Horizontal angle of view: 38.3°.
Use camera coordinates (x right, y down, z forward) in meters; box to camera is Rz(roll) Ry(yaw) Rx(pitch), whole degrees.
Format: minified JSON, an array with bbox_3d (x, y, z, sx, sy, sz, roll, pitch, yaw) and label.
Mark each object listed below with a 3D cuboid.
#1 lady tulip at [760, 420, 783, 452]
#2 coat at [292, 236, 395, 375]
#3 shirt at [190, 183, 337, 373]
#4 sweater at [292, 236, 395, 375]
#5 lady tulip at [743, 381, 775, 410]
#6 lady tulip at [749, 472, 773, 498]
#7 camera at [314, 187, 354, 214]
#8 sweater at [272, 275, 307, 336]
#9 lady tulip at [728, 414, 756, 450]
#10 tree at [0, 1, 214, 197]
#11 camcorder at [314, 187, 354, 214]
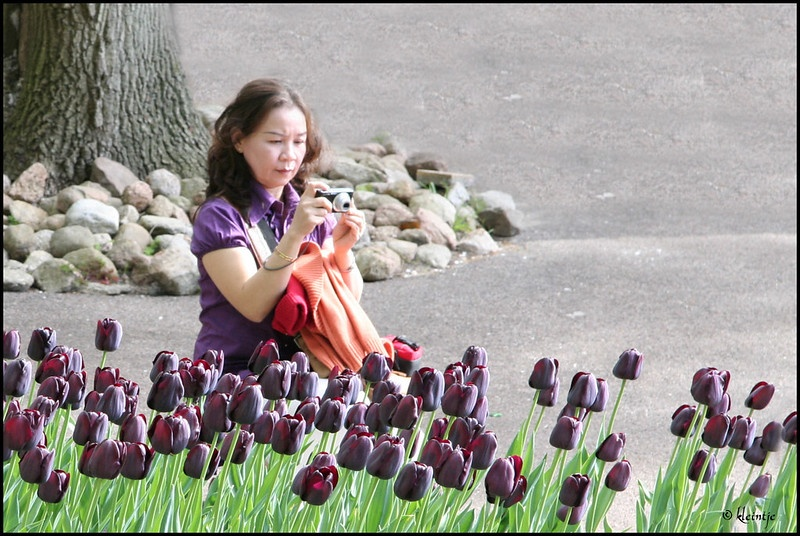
[{"bbox_3d":[1.684,0.771,5.261,0.085,0.139,0.078,8,-1,18],"label":"lady tulip"},{"bbox_3d":[-0.329,0.200,5.878,0.481,0.664,0.281,-12,-16,-25],"label":"coat"},{"bbox_3d":[-0.678,0.063,5.832,0.885,1.111,0.581,3,-5,-34],"label":"shirt"},{"bbox_3d":[-0.313,0.199,5.885,0.481,0.664,0.281,-12,-16,-25],"label":"sweater"},{"bbox_3d":[1.657,0.601,5.375,0.112,0.136,0.156,8,-1,17],"label":"lady tulip"},{"bbox_3d":[1.637,0.995,5.256,0.109,0.112,0.057,9,-1,-12],"label":"lady tulip"},{"bbox_3d":[-0.339,-0.378,5.852,0.163,0.109,0.115,-7,20,-31],"label":"camera"},{"bbox_3d":[-0.541,0.193,5.819,0.099,0.246,0.244,14,38,-20],"label":"sweater"},{"bbox_3d":[1.543,0.756,5.262,0.167,0.150,0.080,9,-1,-20],"label":"lady tulip"},{"bbox_3d":[-2.370,-1.266,9.331,1.693,1.765,1.324,-2,4,-22],"label":"tree"},{"bbox_3d":[-0.342,-0.372,5.854,0.163,0.109,0.115,-7,20,-31],"label":"camcorder"}]
